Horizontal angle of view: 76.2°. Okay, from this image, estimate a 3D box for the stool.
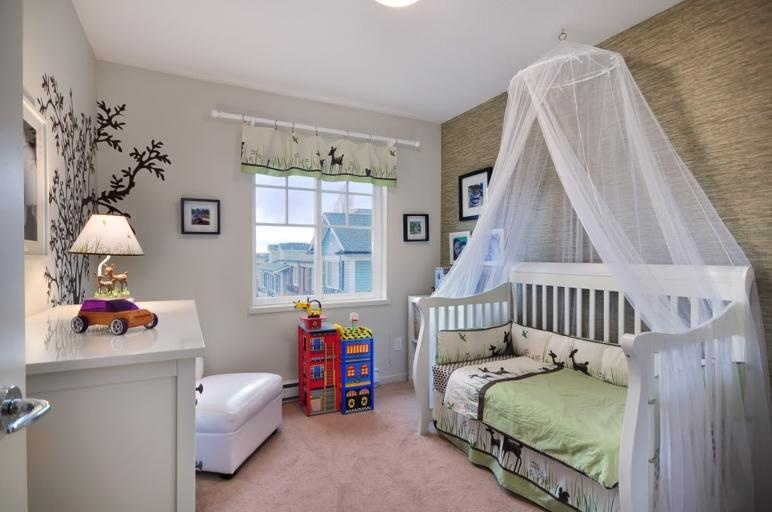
[{"bbox_3d":[-1.076,1.198,3.635,0.633,0.457,0.924,0,-8,10],"label":"stool"}]

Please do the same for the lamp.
[{"bbox_3d":[-1.631,-0.004,3.013,0.406,0.662,0.408,0,-1,-16],"label":"lamp"}]

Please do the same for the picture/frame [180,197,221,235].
[{"bbox_3d":[-1.659,-0.352,4.347,0.331,0.343,0.026,1,-2,-31],"label":"picture/frame"}]

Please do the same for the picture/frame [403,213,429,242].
[{"bbox_3d":[0.307,-0.302,5.242,0.308,0.306,0.031,1,-3,-29],"label":"picture/frame"}]

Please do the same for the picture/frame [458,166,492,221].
[{"bbox_3d":[0.863,-0.597,4.705,0.047,0.628,0.612,2,5,-27],"label":"picture/frame"}]
